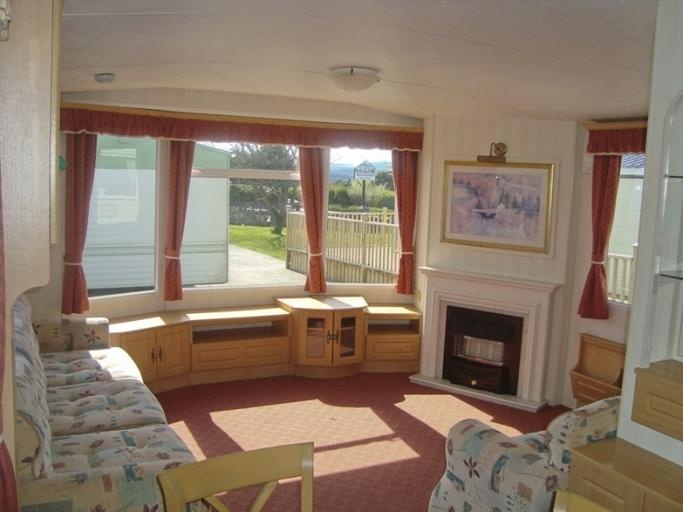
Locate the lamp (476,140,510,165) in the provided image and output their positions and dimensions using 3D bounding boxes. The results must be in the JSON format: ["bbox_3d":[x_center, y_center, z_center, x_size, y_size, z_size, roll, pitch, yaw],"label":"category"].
[{"bbox_3d":[1.658,-1.143,5.676,0.199,0.205,0.283,-4,5,-43],"label":"lamp"}]

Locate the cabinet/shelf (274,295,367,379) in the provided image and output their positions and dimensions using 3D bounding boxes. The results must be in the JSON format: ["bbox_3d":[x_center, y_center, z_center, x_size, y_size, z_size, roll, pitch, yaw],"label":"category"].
[{"bbox_3d":[-0.217,0.932,6.460,1.264,0.918,0.805,-1,7,-14],"label":"cabinet/shelf"}]

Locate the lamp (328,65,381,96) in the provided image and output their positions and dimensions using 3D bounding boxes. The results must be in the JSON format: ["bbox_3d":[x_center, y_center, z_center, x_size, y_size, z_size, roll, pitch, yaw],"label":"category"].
[{"bbox_3d":[0.103,-1.453,4.225,0.437,0.141,0.398,1,9,-1],"label":"lamp"}]

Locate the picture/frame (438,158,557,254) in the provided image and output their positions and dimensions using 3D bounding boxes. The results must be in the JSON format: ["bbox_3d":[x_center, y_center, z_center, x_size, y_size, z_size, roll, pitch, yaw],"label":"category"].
[{"bbox_3d":[1.771,-0.562,5.685,1.034,0.869,0.050,6,7,31],"label":"picture/frame"}]

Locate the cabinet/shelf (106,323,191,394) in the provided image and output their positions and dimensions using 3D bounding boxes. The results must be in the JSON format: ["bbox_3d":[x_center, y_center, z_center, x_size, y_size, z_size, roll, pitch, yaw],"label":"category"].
[{"bbox_3d":[-1.970,1.011,5.161,0.711,0.658,0.391,-7,11,-43],"label":"cabinet/shelf"}]

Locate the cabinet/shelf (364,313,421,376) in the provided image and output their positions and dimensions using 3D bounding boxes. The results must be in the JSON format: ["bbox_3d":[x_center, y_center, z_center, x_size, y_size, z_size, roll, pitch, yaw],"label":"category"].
[{"bbox_3d":[0.533,1.017,6.642,0.891,0.880,0.675,0,4,-1],"label":"cabinet/shelf"}]
